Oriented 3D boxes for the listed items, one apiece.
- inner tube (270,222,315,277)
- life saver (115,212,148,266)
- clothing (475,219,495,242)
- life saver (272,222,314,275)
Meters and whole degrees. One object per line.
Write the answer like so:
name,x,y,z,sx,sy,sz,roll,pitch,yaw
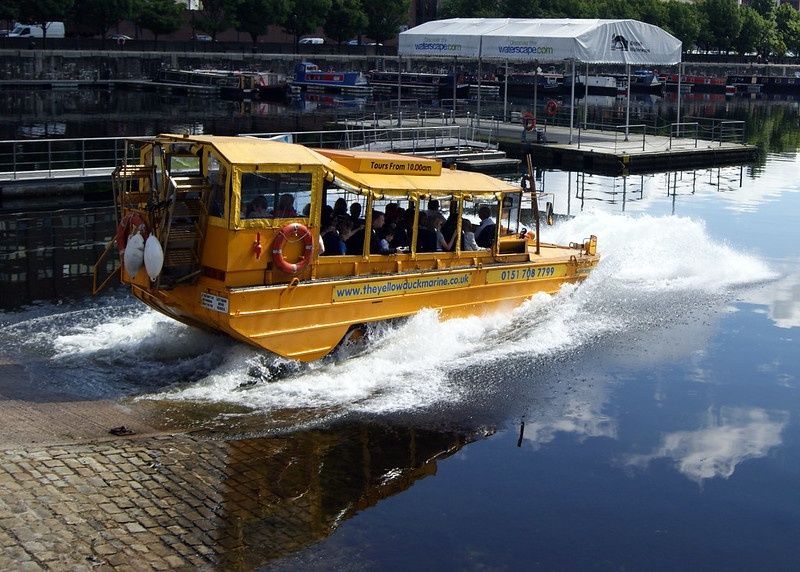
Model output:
inner tube,-1.770,-0.617,13.353,0.818,0.759,0.201,-3,9,-39
life saver,-4.479,-0.816,13.306,0.606,0.762,0.208,2,1,32
clothing,1.687,-1.131,16.125,0.389,0.499,0.286,6,28,-4
life saver,-1.790,-0.612,13.322,0.815,0.759,0.208,1,5,-41
